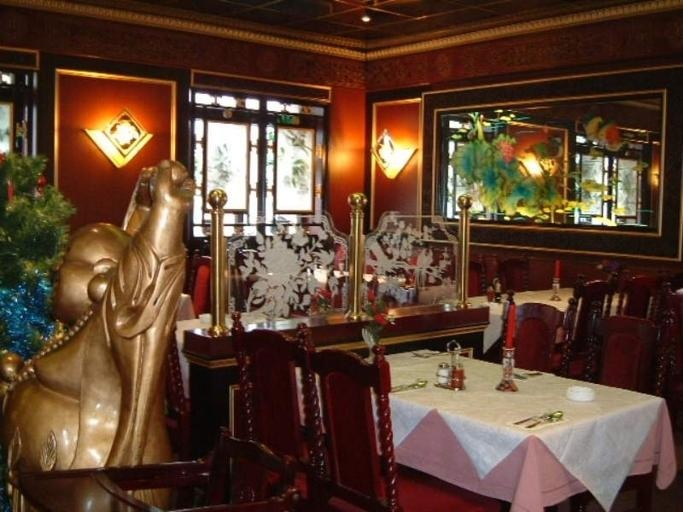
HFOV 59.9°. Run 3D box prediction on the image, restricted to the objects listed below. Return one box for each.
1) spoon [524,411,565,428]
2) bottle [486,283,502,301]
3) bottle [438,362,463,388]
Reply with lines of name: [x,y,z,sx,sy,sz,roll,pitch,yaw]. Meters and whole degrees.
spoon: [0.814,0.660,2.387,0.179,0.027,0.064,-11,10,-43]
bottle: [1.443,0.343,5.603,0.151,0.192,0.189,1,-3,-10]
bottle: [0.524,0.586,2.869,0.077,0.110,0.148,0,-1,-29]
